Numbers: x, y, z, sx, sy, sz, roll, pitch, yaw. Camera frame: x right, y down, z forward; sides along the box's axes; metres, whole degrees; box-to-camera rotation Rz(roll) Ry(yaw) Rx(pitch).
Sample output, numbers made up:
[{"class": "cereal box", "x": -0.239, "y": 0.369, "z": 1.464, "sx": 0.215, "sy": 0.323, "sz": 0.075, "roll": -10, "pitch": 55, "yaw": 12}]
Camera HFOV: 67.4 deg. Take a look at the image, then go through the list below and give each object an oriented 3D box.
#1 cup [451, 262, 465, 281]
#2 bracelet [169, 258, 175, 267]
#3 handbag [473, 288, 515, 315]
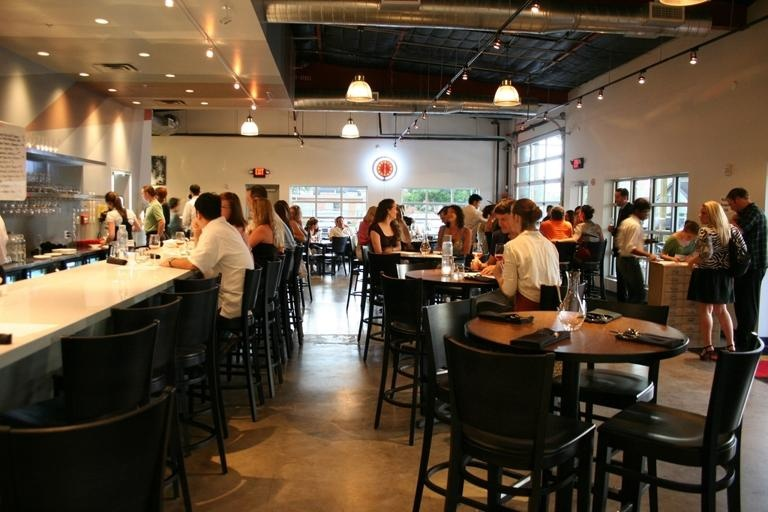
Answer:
[{"class": "cup", "x": 0.746, "y": 0.167, "z": 5.733, "sx": 0.145, "sy": 0.083, "sz": 0.204, "roll": 2, "pitch": 15, "yaw": 4}, {"class": "bracelet", "x": -1.842, "y": 0.062, "z": 5.007, "sx": 0.070, "sy": 0.070, "sz": 0.055, "roll": -6, "pitch": 10, "yaw": -40}, {"class": "handbag", "x": 0.919, "y": 0.400, "z": 4.876, "sx": 0.258, "sy": 0.294, "sz": 0.230, "roll": -6, "pitch": 19, "yaw": -5}]
